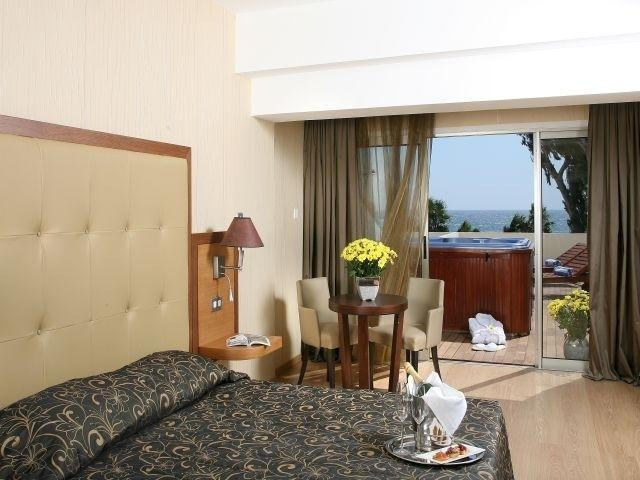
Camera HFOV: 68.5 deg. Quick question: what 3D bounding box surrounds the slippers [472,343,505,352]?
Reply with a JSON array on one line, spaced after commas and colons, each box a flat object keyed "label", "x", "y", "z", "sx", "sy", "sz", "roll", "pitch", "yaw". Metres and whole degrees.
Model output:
[{"label": "slippers", "x": 2.093, "y": 1.330, "z": 5.826, "sx": 0.193, "sy": 0.058, "sz": 0.175, "roll": -4, "pitch": -1, "yaw": 12}]

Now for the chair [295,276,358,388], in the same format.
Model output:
[{"label": "chair", "x": 0.091, "y": 0.968, "z": 4.854, "sx": 0.623, "sy": 1.065, "sz": 0.593, "roll": -2, "pitch": 0, "yaw": -43}]

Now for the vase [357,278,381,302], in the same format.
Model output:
[{"label": "vase", "x": 0.436, "y": 0.447, "z": 4.263, "sx": 0.202, "sy": 0.238, "sz": 0.195, "roll": 0, "pitch": -7, "yaw": 2}]

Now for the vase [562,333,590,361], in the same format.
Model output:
[{"label": "vase", "x": 2.707, "y": 1.103, "z": 4.967, "sx": 0.241, "sy": 0.321, "sz": 0.246, "roll": 0, "pitch": 0, "yaw": 21}]

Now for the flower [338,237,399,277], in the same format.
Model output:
[{"label": "flower", "x": 0.447, "y": 0.155, "z": 4.355, "sx": 0.386, "sy": 0.316, "sz": 0.402, "roll": -1, "pitch": 4, "yaw": -4}]

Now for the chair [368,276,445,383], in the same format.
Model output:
[{"label": "chair", "x": 0.897, "y": 0.874, "z": 4.708, "sx": 0.724, "sy": 0.965, "sz": 0.719, "roll": 3, "pitch": 0, "yaw": -24}]

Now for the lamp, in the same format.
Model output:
[{"label": "lamp", "x": -0.662, "y": 0.135, "z": 3.786, "sx": 0.398, "sy": 0.703, "sz": 0.361, "roll": 0, "pitch": -1, "yaw": -9}]

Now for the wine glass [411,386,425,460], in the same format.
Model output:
[{"label": "wine glass", "x": 0.431, "y": 0.811, "z": 2.086, "sx": 0.050, "sy": 0.245, "sz": 0.064, "roll": -7, "pitch": 11, "yaw": -33}]

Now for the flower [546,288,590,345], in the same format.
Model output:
[{"label": "flower", "x": 2.683, "y": 0.803, "z": 5.065, "sx": 0.392, "sy": 0.435, "sz": 0.425, "roll": -5, "pitch": -11, "yaw": 16}]

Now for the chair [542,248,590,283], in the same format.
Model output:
[{"label": "chair", "x": 2.641, "y": 0.191, "z": 4.928, "sx": 0.485, "sy": 0.295, "sz": 0.174, "roll": -8, "pitch": -12, "yaw": -40}]
